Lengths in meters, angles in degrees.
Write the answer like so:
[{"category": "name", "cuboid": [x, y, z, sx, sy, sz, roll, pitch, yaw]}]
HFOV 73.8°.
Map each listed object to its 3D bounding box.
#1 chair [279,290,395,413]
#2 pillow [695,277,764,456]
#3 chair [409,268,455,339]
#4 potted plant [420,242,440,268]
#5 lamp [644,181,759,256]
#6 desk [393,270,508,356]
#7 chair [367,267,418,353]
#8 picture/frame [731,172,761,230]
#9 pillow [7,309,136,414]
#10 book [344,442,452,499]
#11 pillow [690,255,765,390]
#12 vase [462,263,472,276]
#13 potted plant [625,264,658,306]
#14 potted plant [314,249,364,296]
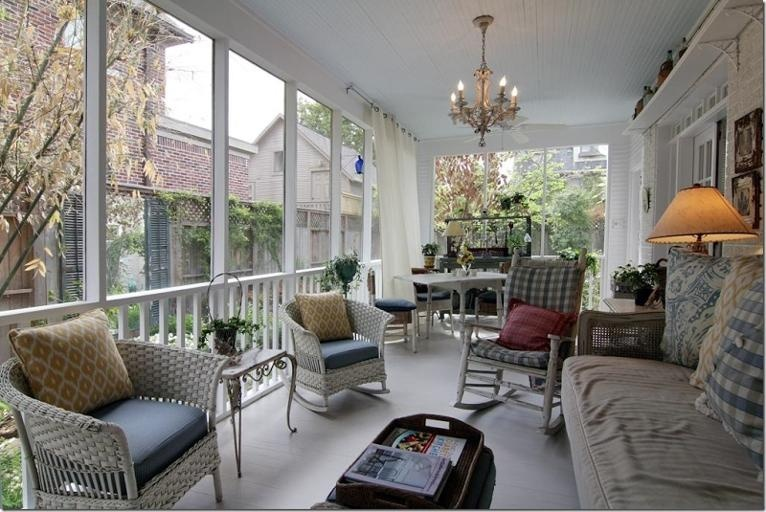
[{"category": "chair", "cuboid": [-0.516, 0.781, 4.875, 1.090, 0.952, 0.952, 1, -3, -39]}, {"category": "pillow", "cuboid": [1.871, 0.560, 2.687, 0.264, 0.787, 0.444, 8, 15, 32]}, {"category": "chair", "cuboid": [0.669, 0.616, 6.906, 0.805, 1.201, 0.745, -1, 2, 3]}, {"category": "potted plant", "cuboid": [0.704, -0.015, 8.200, 0.335, 0.467, 0.356, -2, 1, -23]}, {"category": "lamp", "cuboid": [2.367, -0.281, 3.841, 0.580, 0.455, 0.584, -2, 2, 14]}, {"category": "desk", "cuboid": [1.000, 0.602, 6.219, 1.097, 0.584, 0.971, -3, 4, -24]}, {"category": "chair", "cuboid": [0.184, 0.703, 6.614, 0.836, 1.300, 0.827, -1, 1, -4]}, {"category": "picture/frame", "cuboid": [2.798, -0.424, 3.935, 0.069, 0.691, 0.514, 0, -1, 18]}, {"category": "pillow", "cuboid": [-1.885, 0.648, 3.056, 0.286, 0.542, 0.588, -8, 2, 27]}, {"category": "book", "cuboid": [0.102, 1.159, 2.757, 0.329, 0.064, 0.232, 4, 11, 18]}, {"category": "pillow", "cuboid": [2.033, 0.393, 3.080, 0.229, 0.727, 0.772, 13, 12, 33]}, {"category": "vase", "cuboid": [1.032, 0.166, 6.334, 0.101, 0.141, 0.049, 7, -18, -3]}, {"category": "potted plant", "cuboid": [2.600, 0.259, 5.220, 0.351, 0.457, 0.461, 0, 0, 16]}, {"category": "potted plant", "cuboid": [-0.457, 0.168, 5.892, 0.461, 0.647, 0.546, 2, 6, 17]}]
